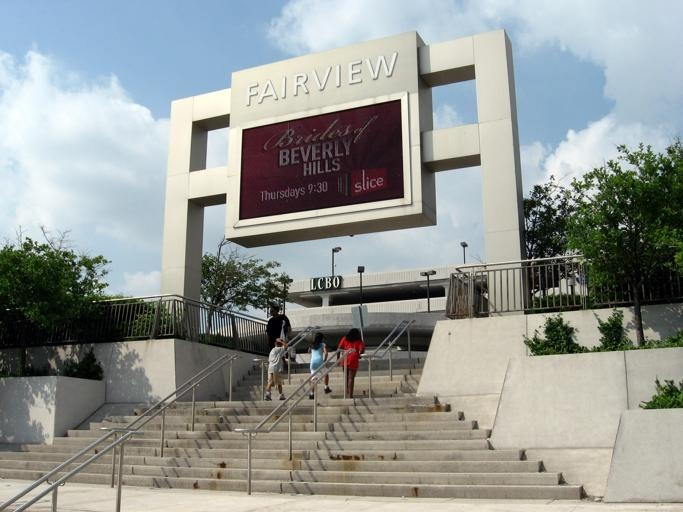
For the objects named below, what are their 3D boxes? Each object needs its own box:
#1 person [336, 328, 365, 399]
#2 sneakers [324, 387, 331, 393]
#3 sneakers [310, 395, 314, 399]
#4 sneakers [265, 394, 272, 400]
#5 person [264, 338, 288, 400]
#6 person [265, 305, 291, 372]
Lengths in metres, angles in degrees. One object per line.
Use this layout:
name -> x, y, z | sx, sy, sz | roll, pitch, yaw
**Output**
person -> 0.215, 2.555, 14.848 | 0.639, 1.627, 0.916 | 1, -8, -7
sneakers -> -0.339, 3.239, 15.115 | 0.111, 0.202, 0.216 | -5, -25, 11
sneakers -> -0.708, 3.322, 14.723 | 0.085, 0.095, 0.214 | 2, -9, -11
sneakers -> -1.799, 3.457, 15.214 | 0.081, 0.207, 0.265 | -1, -10, 18
person -> -1.612, 2.805, 15.504 | 0.506, 1.539, 1.431 | 1, -9, -6
person -> -1.625, 2.261, 16.472 | 0.650, 1.997, 0.462 | -12, -36, -3
